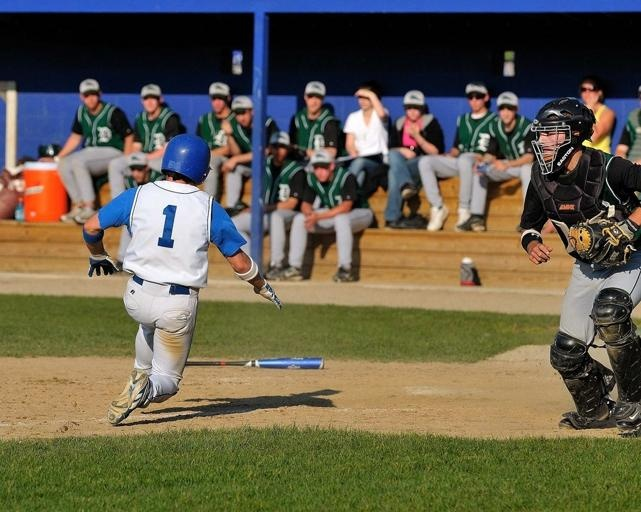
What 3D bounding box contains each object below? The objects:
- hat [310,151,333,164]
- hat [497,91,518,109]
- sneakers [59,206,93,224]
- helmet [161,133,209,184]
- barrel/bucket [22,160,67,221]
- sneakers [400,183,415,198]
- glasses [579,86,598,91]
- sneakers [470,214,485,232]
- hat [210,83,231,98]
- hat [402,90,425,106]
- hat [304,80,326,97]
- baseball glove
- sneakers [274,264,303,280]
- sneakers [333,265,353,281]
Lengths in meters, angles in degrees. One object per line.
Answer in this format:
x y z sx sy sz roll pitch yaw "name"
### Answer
0.012 -1.225 17.348 0.273 0.166 0.427 0 12 -1 "hat"
2.367 -1.992 17.759 0.221 0.187 0.332 0 8 14 "hat"
-3.137 -0.526 18.140 0.457 0.221 0.188 3 10 -6 "sneakers"
-1.130 -0.884 12.171 0.371 0.361 0.436 15 25 6 "helmet"
-3.549 -0.886 18.831 0.710 0.810 0.708 -1 2 0 "barrel/bucket"
1.104 -0.818 17.568 0.190 0.225 0.313 1 12 3 "sneakers"
3.291 -2.087 17.221 0.141 0.050 0.147 3 -2 37 "glasses"
1.963 -0.406 17.485 0.206 0.210 0.226 -1 12 -8 "sneakers"
-1.290 -2.207 18.176 0.202 0.160 0.300 2 -3 5 "hat"
1.218 -2.057 18.045 0.194 0.162 0.303 1 6 8 "hat"
-0.066 -2.205 18.254 0.200 0.171 0.309 6 6 -1 "hat"
2.425 -0.107 12.005 0.484 0.256 0.383 -11 20 -38 "baseball glove"
-0.398 0.230 17.409 0.351 0.161 0.132 3 -1 -5 "sneakers"
0.304 0.244 17.244 0.277 0.201 0.181 -6 13 -26 "sneakers"
